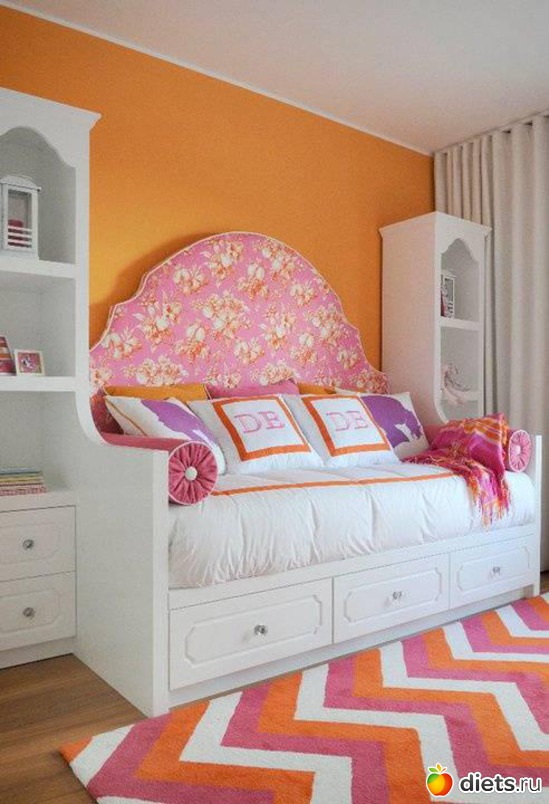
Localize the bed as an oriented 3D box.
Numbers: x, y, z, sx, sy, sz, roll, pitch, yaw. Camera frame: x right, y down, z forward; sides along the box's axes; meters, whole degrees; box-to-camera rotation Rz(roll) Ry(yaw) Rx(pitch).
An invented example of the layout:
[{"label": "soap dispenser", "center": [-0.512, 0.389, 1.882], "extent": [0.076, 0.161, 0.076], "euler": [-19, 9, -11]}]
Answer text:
[{"label": "bed", "center": [0.128, 0.228, 2.361], "extent": [1.845, 1.721, 0.648], "euler": [-1, -2, -38]}]
